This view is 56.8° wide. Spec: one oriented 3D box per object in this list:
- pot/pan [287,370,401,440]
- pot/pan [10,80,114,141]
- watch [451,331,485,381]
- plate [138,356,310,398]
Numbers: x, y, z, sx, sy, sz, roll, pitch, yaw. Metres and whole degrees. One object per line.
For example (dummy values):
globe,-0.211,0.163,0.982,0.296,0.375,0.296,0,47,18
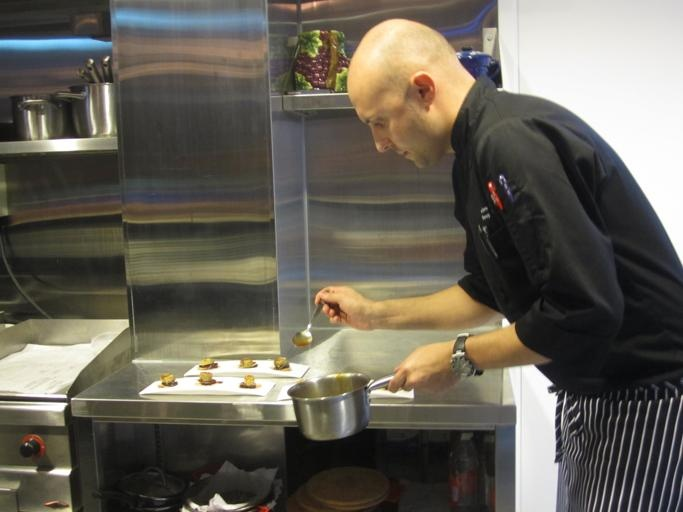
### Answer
pot/pan,0.021,0.412,1.778,0.312,0.123,0.163,-7,4,-31
pot/pan,-1.033,-0.536,2.376,0.227,0.145,0.373,-1,9,13
watch,0.306,0.249,1.621,0.076,0.119,0.110,-7,51,16
plate,-0.376,0.394,2.138,0.524,0.048,0.316,-3,11,6
